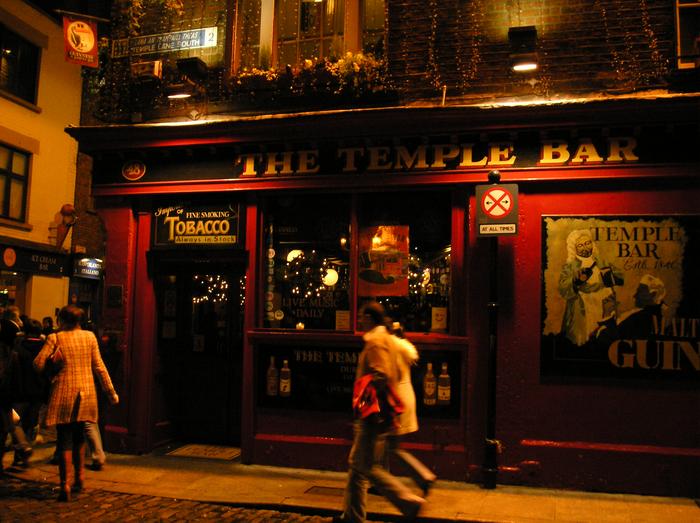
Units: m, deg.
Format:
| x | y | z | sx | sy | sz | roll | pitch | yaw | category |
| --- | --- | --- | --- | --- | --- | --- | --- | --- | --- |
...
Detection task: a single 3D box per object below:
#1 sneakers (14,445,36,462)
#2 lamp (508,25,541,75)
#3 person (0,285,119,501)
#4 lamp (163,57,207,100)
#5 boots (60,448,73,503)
| x | y | z | sx | sy | sz | roll | pitch | yaw | category |
| --- | --- | --- | --- | --- | --- | --- | --- | --- | --- |
| -4.971 | 2.895 | 10.507 | 0.278 | 0.235 | 0.219 | 7 | -5 | -3 | sneakers |
| 2.615 | -3.228 | 10.478 | 0.562 | 0.534 | 0.576 | -6 | 9 | -14 | lamp |
| -3.788 | 1.870 | 9.446 | 0.962 | 2.557 | 0.436 | 1 | -5 | -24 | person |
| -2.831 | -3.095 | 11.686 | 0.820 | 0.636 | 0.641 | -1 | -5 | 5 | lamp |
| -3.789 | 2.816 | 9.260 | 0.152 | 0.663 | 0.185 | -5 | -6 | 43 | boots |
